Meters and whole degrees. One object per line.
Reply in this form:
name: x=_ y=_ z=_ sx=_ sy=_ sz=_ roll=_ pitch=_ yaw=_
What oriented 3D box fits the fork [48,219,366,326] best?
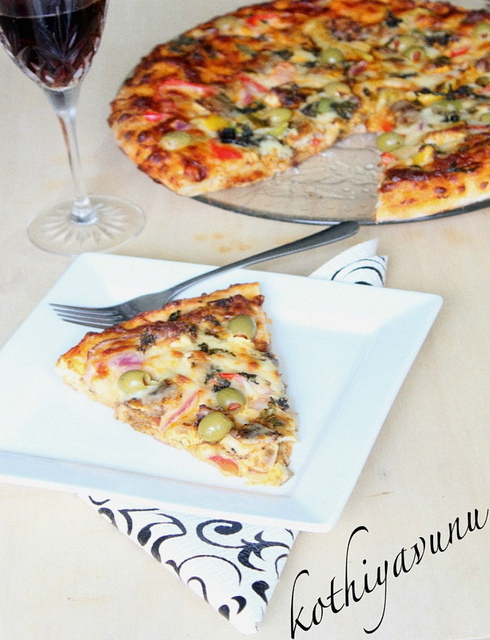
fork: x=-0.074 y=-0.099 z=1.468 sx=0.645 sy=0.079 sz=0.079 roll=-17 pitch=51 yaw=-15
